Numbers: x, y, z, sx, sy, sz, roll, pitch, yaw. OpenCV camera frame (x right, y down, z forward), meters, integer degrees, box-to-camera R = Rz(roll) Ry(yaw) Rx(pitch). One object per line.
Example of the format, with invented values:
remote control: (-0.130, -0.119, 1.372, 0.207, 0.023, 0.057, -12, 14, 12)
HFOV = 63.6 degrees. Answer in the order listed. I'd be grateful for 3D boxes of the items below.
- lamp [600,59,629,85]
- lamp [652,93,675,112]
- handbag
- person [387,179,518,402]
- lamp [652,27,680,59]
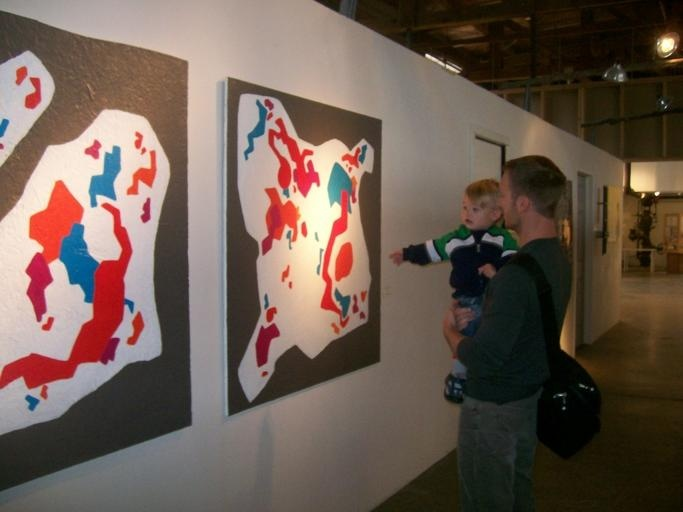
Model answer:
lamp: (3.462, -2.326, 6.971, 0.268, 0.326, 0.448, 4, 6, 26)
lamp: (4.603, -2.188, 7.857, 0.187, 0.230, 0.531, 5, 7, 30)
handbag: (0.958, 0.626, 2.317, 0.274, 0.459, 0.158, -1, 5, -28)
person: (0.782, 0.175, 3.335, 0.803, 1.319, 0.396, -4, 17, -16)
lamp: (4.111, -2.692, 6.962, 0.208, 0.371, 0.554, 4, 6, 27)
